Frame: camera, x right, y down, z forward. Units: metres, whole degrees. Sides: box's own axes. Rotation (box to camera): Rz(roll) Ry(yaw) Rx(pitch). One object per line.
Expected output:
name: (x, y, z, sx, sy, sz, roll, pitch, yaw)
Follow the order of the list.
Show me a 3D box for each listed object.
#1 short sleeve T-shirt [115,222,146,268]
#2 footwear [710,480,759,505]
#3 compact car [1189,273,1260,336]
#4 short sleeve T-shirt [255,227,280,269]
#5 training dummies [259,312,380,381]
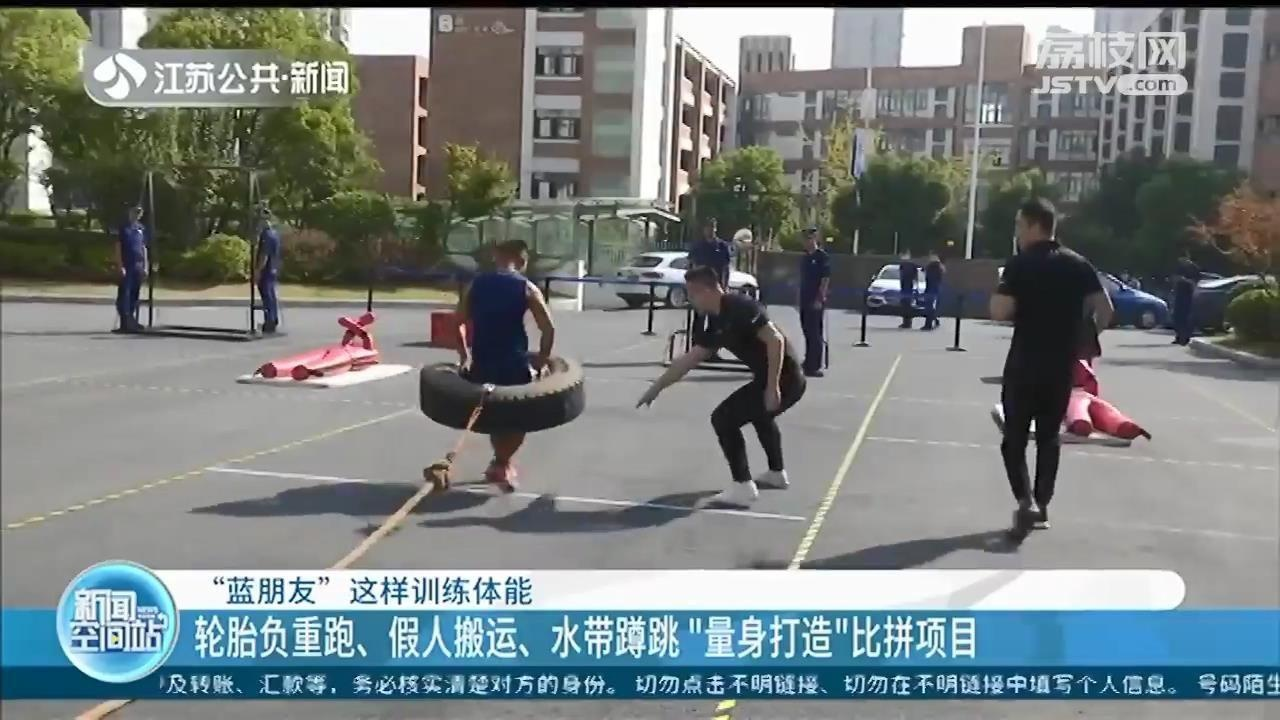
short sleeve T-shirt: (-9.178, -2.062, 19.053, 0.172, 0.757, 0.524, 1, -2, 15)
footwear: (0.955, 1.343, 10.672, 0.539, 0.239, 0.199, 1, 0, -7)
compact car: (13.824, -1.330, 25.340, 1.323, 1.828, 1.835, 2, 4, 32)
short sleeve T-shirt: (-5.811, -1.766, 16.535, 0.271, 0.522, 0.515, 8, 13, 12)
training dummies: (-4.933, -0.144, 16.261, 1.074, 0.707, 1.619, 8, 10, 39)
